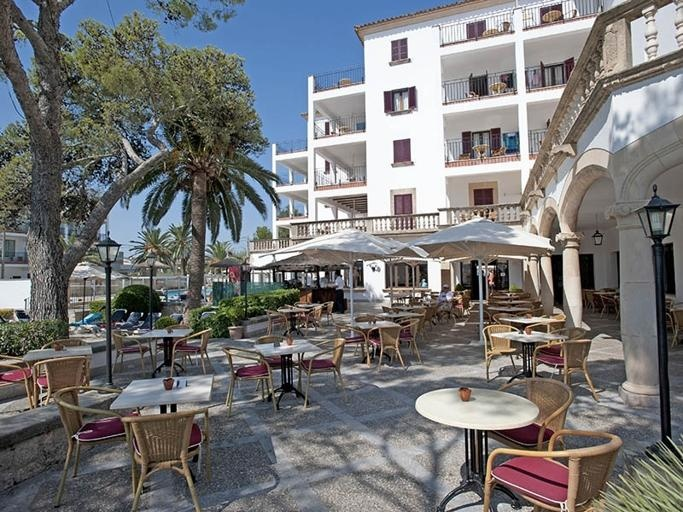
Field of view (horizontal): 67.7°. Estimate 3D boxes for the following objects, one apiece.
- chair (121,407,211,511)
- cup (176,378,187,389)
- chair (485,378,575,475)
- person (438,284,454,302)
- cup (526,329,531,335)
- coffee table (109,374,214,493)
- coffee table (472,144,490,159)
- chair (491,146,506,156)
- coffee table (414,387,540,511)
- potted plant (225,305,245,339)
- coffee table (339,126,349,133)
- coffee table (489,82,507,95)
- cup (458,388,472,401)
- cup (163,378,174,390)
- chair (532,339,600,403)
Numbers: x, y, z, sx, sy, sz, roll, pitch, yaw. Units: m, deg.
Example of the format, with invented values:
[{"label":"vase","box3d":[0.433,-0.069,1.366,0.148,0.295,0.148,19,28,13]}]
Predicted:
[{"label":"chair","box3d":[-2.315,2.650,6.747,1.139,1.685,1.211,0,2,-14]},{"label":"cup","box3d":[-2.373,1.871,7.547,0.076,0.153,0.144,-7,-9,37]},{"label":"chair","box3d":[2.668,2.187,6.972,1.019,0.846,1.037,1,-2,-32]},{"label":"person","box3d":[4.255,1.501,20.814,0.517,0.905,0.307,0,-5,-17]},{"label":"cup","box3d":[3.768,1.511,10.181,0.082,0.072,0.087,1,1,0]},{"label":"coffee table","box3d":[-2.487,2.363,7.376,0.892,0.971,0.955,0,9,3]},{"label":"coffee table","box3d":[7.339,-5.385,26.440,0.888,0.753,0.949,-2,0,0]},{"label":"chair","box3d":[8.084,-5.270,26.027,0.595,0.580,0.730,1,-1,-11]},{"label":"coffee table","box3d":[1.726,2.558,6.788,1.438,1.415,1.442,2,-1,-13]},{"label":"potted plant","box3d":[-3.320,2.185,16.037,0.694,1.064,0.679,1,-9,-11]},{"label":"coffee table","box3d":[0.098,-7.440,30.239,0.481,0.266,0.678,-2,7,-3]},{"label":"coffee table","box3d":[8.042,-8.408,25.985,0.786,0.631,0.846,0,-11,8]},{"label":"cup","box3d":[1.640,1.805,6.744,0.143,0.158,0.153,-2,2,0]},{"label":"cup","box3d":[-2.492,1.818,7.350,0.136,0.141,0.147,2,3,0]},{"label":"chair","box3d":[4.225,1.953,9.695,1.060,1.510,1.112,-2,3,-19]}]
